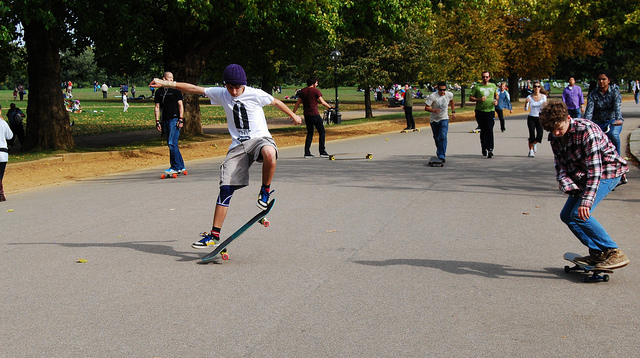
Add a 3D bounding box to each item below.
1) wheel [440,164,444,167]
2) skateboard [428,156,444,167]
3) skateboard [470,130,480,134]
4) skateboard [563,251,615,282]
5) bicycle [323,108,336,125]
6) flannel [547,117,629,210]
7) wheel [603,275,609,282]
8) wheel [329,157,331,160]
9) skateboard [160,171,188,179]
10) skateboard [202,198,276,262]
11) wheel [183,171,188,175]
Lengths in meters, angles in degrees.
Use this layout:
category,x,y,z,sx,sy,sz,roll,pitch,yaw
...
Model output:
category,x,y,z,sx,sy,sz,roll,pitch,yaw
wheel,3.561,-0.409,15.836,0.096,0.047,0.093,3,-21,1
skateboard,3.425,-0.521,15.978,0.451,0.270,0.425,-1,11,10
skateboard,7.607,-2.318,26.437,0.497,0.195,0.160,6,0,-13
skateboard,3.979,1.325,8.166,0.289,0.181,0.966,-3,7,-18
bicycle,0.548,-3.592,31.086,0.592,0.644,1.051,3,23,-1
flannel,3.981,-0.287,7.995,0.885,1.297,0.955,-15,7,-6
wheel,4.252,1.469,8.018,0.152,0.087,0.047,-11,13,-33
wheel,0.328,-0.681,17.648,0.104,0.089,0.100,1,5,0
skateboard,-4.001,-0.141,14.839,0.735,0.160,0.468,-8,12,-23
skateboard,-1.414,0.937,9.542,1.235,0.201,0.290,-41,15,-4
wheel,-3.767,-0.169,15.106,0.077,0.155,0.218,-13,12,-24
